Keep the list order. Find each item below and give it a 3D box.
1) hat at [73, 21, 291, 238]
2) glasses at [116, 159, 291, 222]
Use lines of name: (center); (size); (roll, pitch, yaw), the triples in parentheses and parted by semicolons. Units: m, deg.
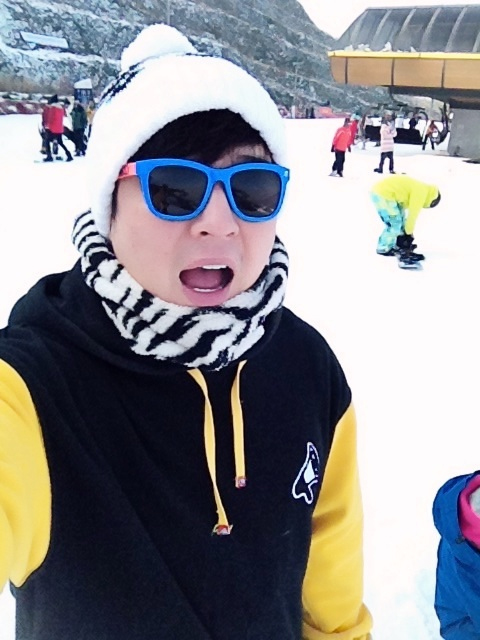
hat: (-0.170, -0.344, 1.234); (0.404, 0.413, 0.397); (-2, 3, -21)
glasses: (-0.044, -0.230, 1.085); (0.302, 0.120, 0.121); (-10, 24, -24)
